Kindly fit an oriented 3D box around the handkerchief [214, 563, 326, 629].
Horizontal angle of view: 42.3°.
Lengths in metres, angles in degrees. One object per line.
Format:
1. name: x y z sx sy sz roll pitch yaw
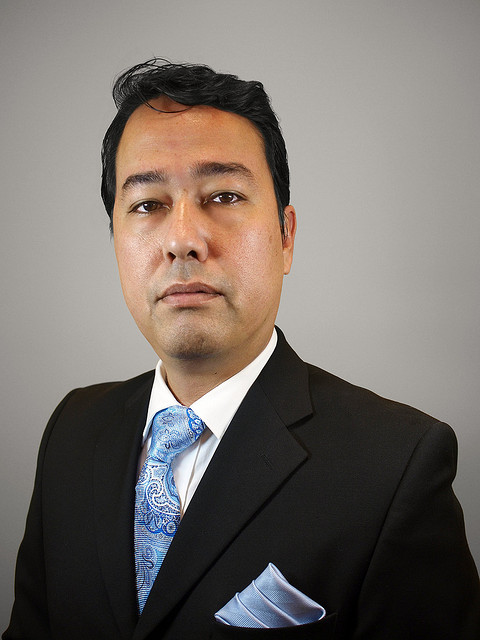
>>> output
1. handkerchief: 0.047 0.433 0.941 0.121 0.044 0.126 -2 5 -37
